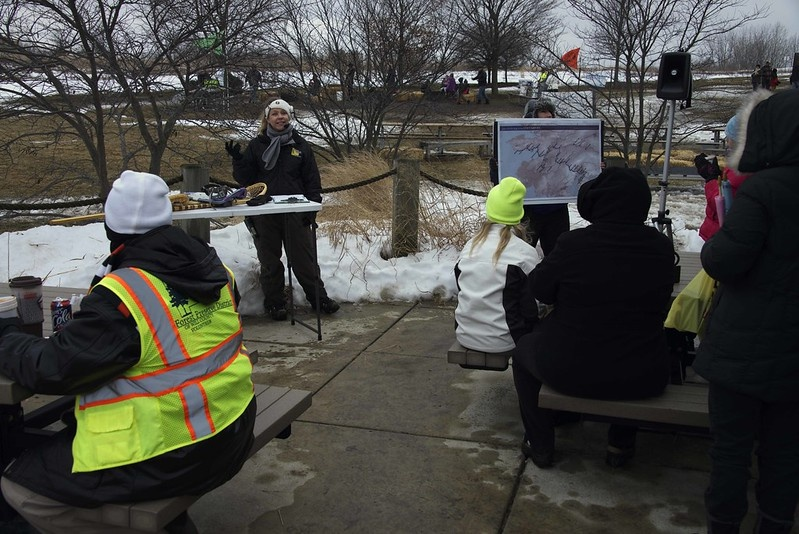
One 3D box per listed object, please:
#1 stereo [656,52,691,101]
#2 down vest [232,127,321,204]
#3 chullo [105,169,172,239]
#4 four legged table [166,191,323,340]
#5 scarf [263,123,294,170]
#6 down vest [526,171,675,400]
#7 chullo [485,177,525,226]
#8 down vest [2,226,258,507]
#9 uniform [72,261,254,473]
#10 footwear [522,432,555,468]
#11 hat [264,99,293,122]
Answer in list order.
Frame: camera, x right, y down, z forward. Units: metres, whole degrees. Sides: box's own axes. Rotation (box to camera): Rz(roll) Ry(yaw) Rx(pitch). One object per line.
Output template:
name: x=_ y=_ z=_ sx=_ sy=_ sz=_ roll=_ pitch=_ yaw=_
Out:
stereo: x=2.766 y=-1.887 z=5.874 sx=0.311 sy=0.451 sz=0.363 roll=6 pitch=-5 yaw=22
down vest: x=-1.402 y=-1.138 z=6.605 sx=1.101 sy=0.907 sz=0.589 roll=3 pitch=11 yaw=-2
chullo: x=-1.326 y=-0.319 z=2.929 sx=0.367 sy=0.318 sz=0.319 roll=0 pitch=11 yaw=-28
four legged table: x=-1.686 y=0.078 z=6.007 sx=1.608 sy=1.331 sz=1.232 roll=-3 pitch=3 yaw=-20
scarf: x=-1.343 y=-1.322 z=6.375 sx=0.348 sy=0.441 sz=0.166 roll=3 pitch=28 yaw=-22
down vest: x=1.242 y=0.102 z=3.616 sx=0.910 sy=1.400 sz=0.455 roll=0 pitch=19 yaw=11
chullo: x=0.833 y=-0.545 z=4.644 sx=0.313 sy=0.292 sz=0.375 roll=0 pitch=20 yaw=3
down vest: x=-1.441 y=0.426 z=3.368 sx=1.431 sy=1.318 sz=1.249 roll=4 pitch=9 yaw=21
uniform: x=-1.309 y=0.456 z=3.124 sx=0.824 sy=0.921 sz=1.007 roll=0 pitch=11 yaw=26
footwear: x=0.979 y=1.298 z=4.148 sx=0.127 sy=0.129 sz=0.313 roll=-1 pitch=14 yaw=-10
hat: x=-1.337 y=-1.775 z=6.508 sx=0.274 sy=0.167 sz=0.314 roll=0 pitch=8 yaw=-4
